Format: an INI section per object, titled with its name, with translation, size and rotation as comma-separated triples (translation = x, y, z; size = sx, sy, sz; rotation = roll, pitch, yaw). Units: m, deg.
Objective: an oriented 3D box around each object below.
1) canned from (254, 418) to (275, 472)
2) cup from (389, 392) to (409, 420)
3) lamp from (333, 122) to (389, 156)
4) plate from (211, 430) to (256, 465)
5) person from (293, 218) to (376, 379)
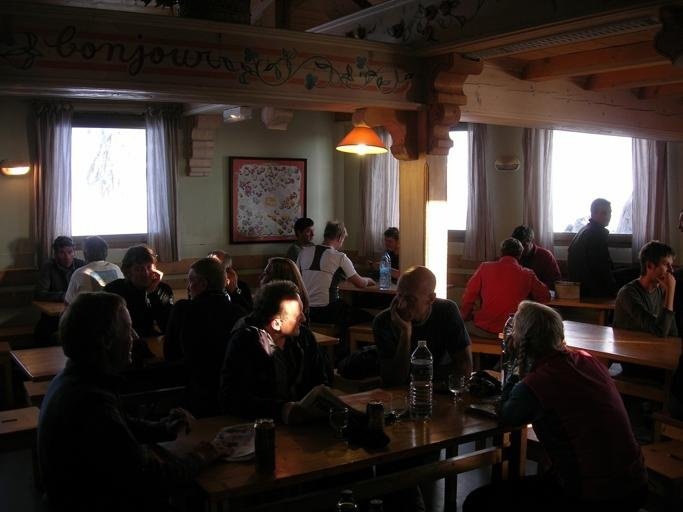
[canned]
translation = -0.348, 0.859, 2.479
size = 0.086, 0.206, 0.116
rotation = -2, 7, -4
[cup]
translation = 0.307, 0.814, 3.024
size = 0.110, 0.175, 0.109
rotation = -1, 6, 0
[lamp]
translation = 0.200, -1.193, 5.590
size = 0.504, 0.252, 0.502
rotation = 2, 0, 36
[plate]
translation = -0.525, 0.898, 2.674
size = 0.192, 0.084, 0.284
rotation = -2, 7, -11
[person]
translation = -0.083, 0.488, 6.854
size = 1.024, 1.765, 0.842
rotation = -2, 11, -29
